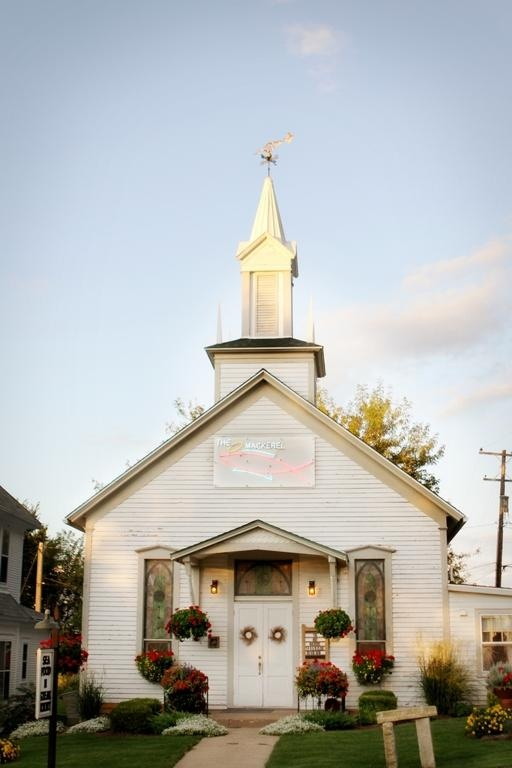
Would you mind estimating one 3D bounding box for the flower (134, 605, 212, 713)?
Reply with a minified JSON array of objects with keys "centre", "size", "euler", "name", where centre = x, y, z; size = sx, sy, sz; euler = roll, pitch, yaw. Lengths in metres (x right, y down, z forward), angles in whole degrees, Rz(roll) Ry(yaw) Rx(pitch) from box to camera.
[{"centre":[-1.597,5.862,19.776],"size":[1.676,0.938,2.048],"euler":[-2,3,-23],"name":"flower"}]
